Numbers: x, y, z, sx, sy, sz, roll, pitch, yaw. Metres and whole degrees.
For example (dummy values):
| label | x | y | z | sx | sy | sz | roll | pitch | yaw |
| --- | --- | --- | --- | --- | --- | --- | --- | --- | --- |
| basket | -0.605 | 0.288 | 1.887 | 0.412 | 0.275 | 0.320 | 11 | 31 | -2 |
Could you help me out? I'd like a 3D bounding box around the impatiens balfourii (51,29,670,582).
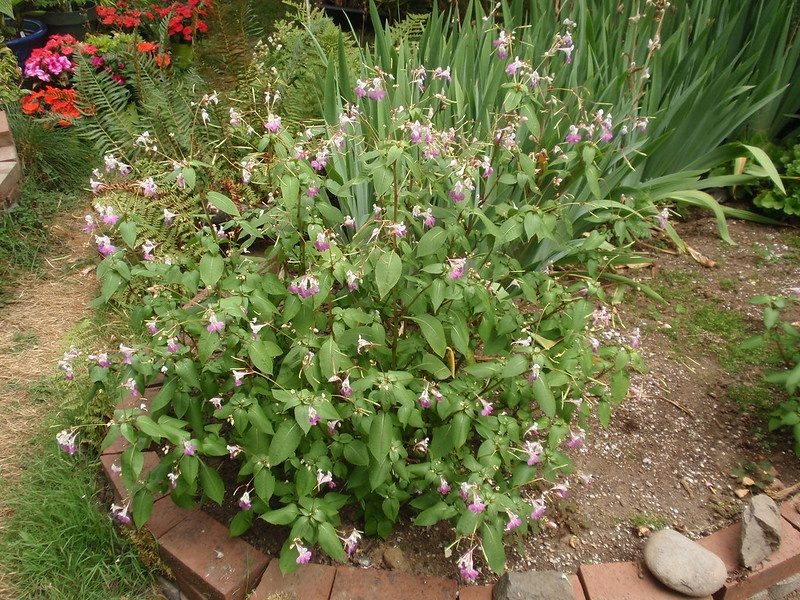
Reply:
| label | x | y | z | sx | sy | sz | roll | pitch | yaw |
| --- | --- | --- | --- | --- | --- | --- | --- | --- | --- |
| impatiens balfourii | -0.045 | 0.091 | 3.198 | 2.803 | 2.107 | 2.942 | 1 | 80 | -11 |
